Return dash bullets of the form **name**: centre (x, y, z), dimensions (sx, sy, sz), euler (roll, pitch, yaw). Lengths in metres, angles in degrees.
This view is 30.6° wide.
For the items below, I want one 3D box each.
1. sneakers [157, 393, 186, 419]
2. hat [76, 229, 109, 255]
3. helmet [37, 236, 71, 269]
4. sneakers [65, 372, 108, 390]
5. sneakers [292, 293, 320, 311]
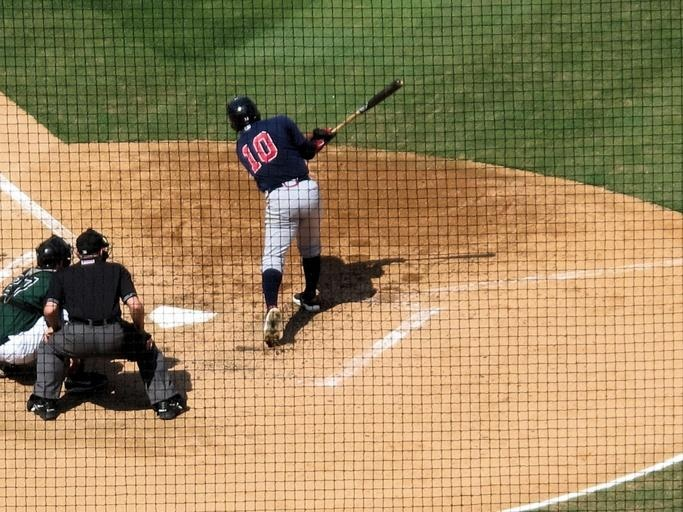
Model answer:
- **sneakers**: centre (-2.169, 1.919, 15.732), dimensions (0.265, 0.242, 0.123), euler (-27, 61, -6)
- **hat**: centre (-3.146, -0.183, 15.728), dimensions (0.289, 0.240, 0.406), euler (-1, 25, 6)
- **helmet**: centre (-3.678, -0.020, 16.059), dimensions (0.410, 0.411, 0.421), euler (5, 50, -4)
- **sneakers**: centre (-3.263, 1.618, 15.912), dimensions (0.594, 0.227, 0.193), euler (-2, 40, -11)
- **sneakers**: centre (-0.467, 0.636, 17.232), dimensions (0.174, 0.169, 0.435), euler (-17, 30, -41)
